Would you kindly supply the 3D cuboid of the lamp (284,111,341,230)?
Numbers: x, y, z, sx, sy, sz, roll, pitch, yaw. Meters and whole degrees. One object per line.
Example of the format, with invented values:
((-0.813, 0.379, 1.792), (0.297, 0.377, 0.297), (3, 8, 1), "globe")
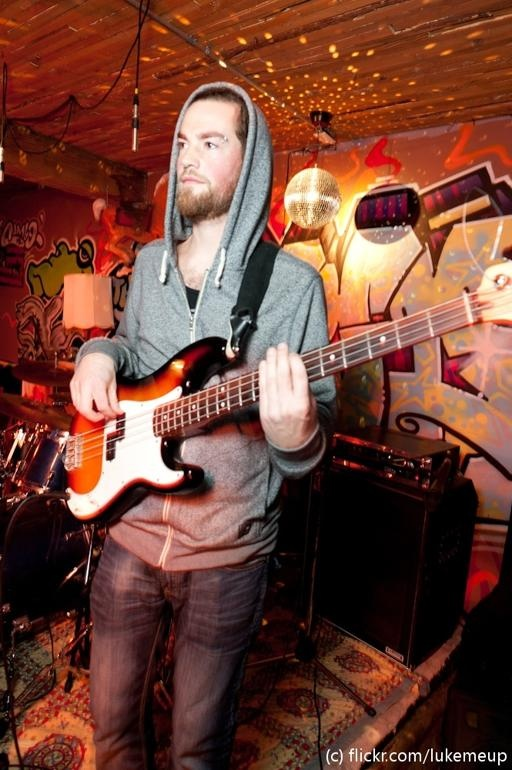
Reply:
((0.327, -1.176, 2.989), (0.278, 0.655, 0.312), (6, -1, 17), "lamp")

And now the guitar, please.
((-0.078, 0.070, 1.178), (1.124, 0.637, 0.157), (6, 5, 29), "guitar")

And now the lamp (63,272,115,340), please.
((-1.178, -0.613, 3.950), (0.387, 0.481, 0.396), (3, 11, 2), "lamp")

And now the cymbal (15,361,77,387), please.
((-1.311, -0.070, 3.361), (0.306, 0.021, 0.308), (-12, 34, -41), "cymbal")
